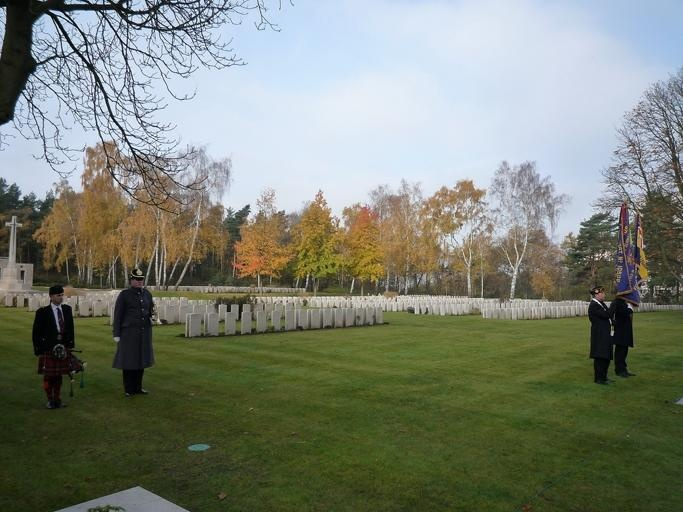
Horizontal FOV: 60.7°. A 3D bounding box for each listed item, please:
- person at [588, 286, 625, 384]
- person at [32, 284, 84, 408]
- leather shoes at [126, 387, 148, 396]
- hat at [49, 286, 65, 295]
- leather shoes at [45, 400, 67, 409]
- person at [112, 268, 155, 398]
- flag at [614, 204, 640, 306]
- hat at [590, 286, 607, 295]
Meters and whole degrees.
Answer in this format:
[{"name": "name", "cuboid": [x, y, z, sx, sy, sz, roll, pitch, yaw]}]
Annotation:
[{"name": "person", "cuboid": [5.862, 1.762, 13.196, 0.531, 2.090, 1.264, 2, 4, 25]}, {"name": "person", "cuboid": [-5.195, 1.631, 10.705, 0.756, 2.130, 0.708, -2, 5, -40]}, {"name": "leather shoes", "cuboid": [-3.943, 2.655, 11.312, 0.401, 0.188, 0.142, -3, 3, -16]}, {"name": "hat", "cuboid": [-5.264, 0.630, 10.798, 0.226, 0.178, 0.238, -5, 1, -9]}, {"name": "leather shoes", "cuboid": [-5.130, 2.660, 10.507, 0.400, 0.178, 0.139, 3, -3, -20]}, {"name": "person", "cuboid": [-4.124, 1.470, 11.626, 0.757, 2.368, 1.068, -1, 4, -19]}, {"name": "flag", "cuboid": [7.552, -0.089, 15.366, 0.516, 2.614, 2.817, 2, 4, 25]}, {"name": "hat", "cuboid": [5.883, 0.788, 13.408, 0.266, 0.129, 0.216, -1, -1, 16]}]
